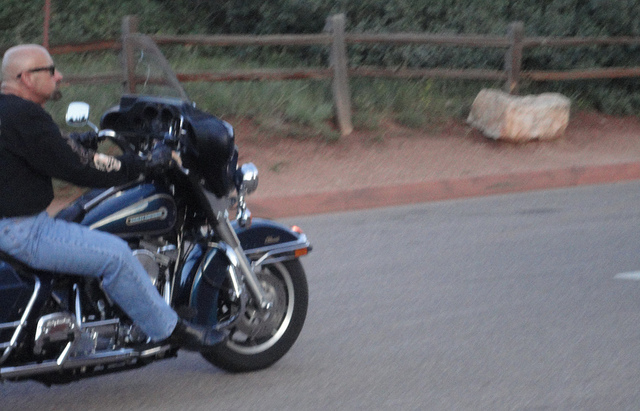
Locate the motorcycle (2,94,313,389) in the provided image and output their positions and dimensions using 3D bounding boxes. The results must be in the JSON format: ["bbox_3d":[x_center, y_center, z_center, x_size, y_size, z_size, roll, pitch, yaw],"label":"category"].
[{"bbox_3d":[-1.231,0.302,6.748,3.042,2.014,1.499,-3,9,-32],"label":"motorcycle"}]

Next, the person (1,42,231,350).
[{"bbox_3d":[-1.686,-0.004,5.872,1.483,2.076,1.158,1,32,-3],"label":"person"}]
